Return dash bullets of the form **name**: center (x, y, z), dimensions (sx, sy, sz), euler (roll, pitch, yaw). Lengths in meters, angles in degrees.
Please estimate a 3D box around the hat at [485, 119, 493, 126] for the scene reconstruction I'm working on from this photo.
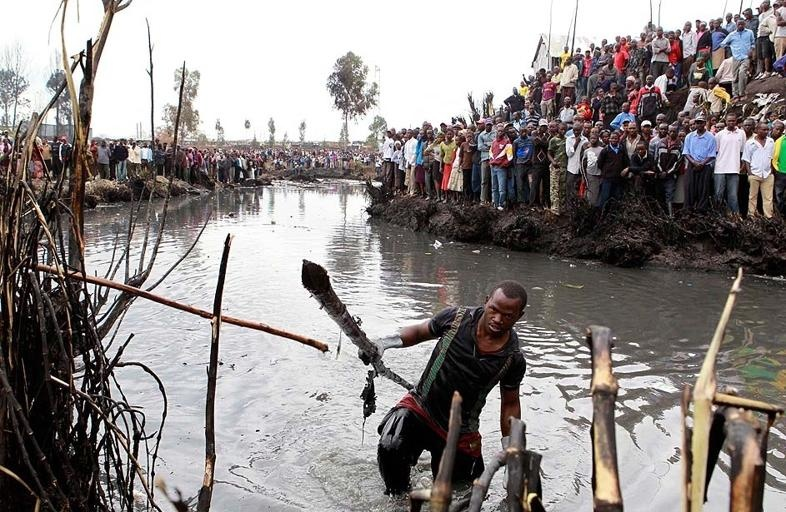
- **hat**: center (2.476, -3.488, 17.040), dimensions (0.323, 0.175, 0.512), euler (2, 6, 8)

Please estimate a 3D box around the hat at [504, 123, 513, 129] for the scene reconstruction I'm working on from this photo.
- **hat**: center (2.954, -3.369, 16.826), dimensions (0.302, 0.106, 0.346), euler (-4, 8, 5)

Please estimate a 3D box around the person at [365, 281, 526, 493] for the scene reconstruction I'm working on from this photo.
- **person**: center (0.476, 1.291, 5.696), dimensions (1.241, 1.670, 0.506), euler (0, 11, -2)
